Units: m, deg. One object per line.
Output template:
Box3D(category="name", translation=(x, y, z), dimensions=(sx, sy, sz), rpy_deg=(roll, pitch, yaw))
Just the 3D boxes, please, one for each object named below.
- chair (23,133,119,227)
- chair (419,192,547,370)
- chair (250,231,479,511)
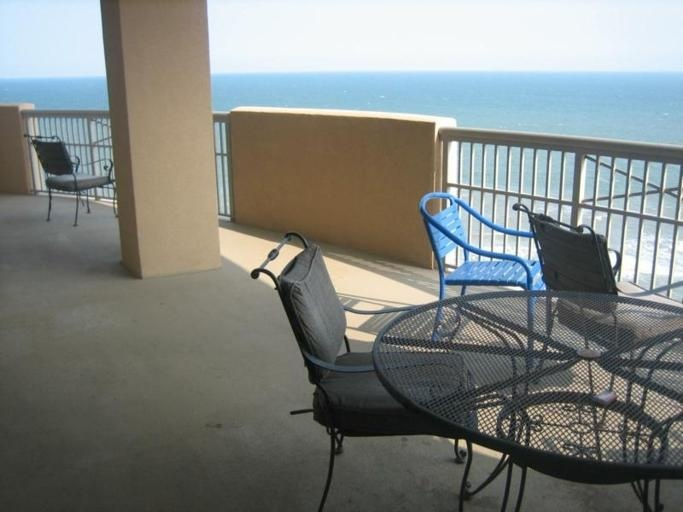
Box3D(category="chair", translation=(-3.127, -0.941, 6.823), dimensions=(0.609, 1.073, 0.816), rpy_deg=(6, 17, 14))
Box3D(category="chair", translation=(1.024, 0.016, 4.297), dimensions=(1.035, 1.056, 0.890), rpy_deg=(5, 22, 19))
Box3D(category="chair", translation=(0.078, 0.438, 3.205), dimensions=(1.159, 1.659, 1.034), rpy_deg=(-3, 21, 4))
